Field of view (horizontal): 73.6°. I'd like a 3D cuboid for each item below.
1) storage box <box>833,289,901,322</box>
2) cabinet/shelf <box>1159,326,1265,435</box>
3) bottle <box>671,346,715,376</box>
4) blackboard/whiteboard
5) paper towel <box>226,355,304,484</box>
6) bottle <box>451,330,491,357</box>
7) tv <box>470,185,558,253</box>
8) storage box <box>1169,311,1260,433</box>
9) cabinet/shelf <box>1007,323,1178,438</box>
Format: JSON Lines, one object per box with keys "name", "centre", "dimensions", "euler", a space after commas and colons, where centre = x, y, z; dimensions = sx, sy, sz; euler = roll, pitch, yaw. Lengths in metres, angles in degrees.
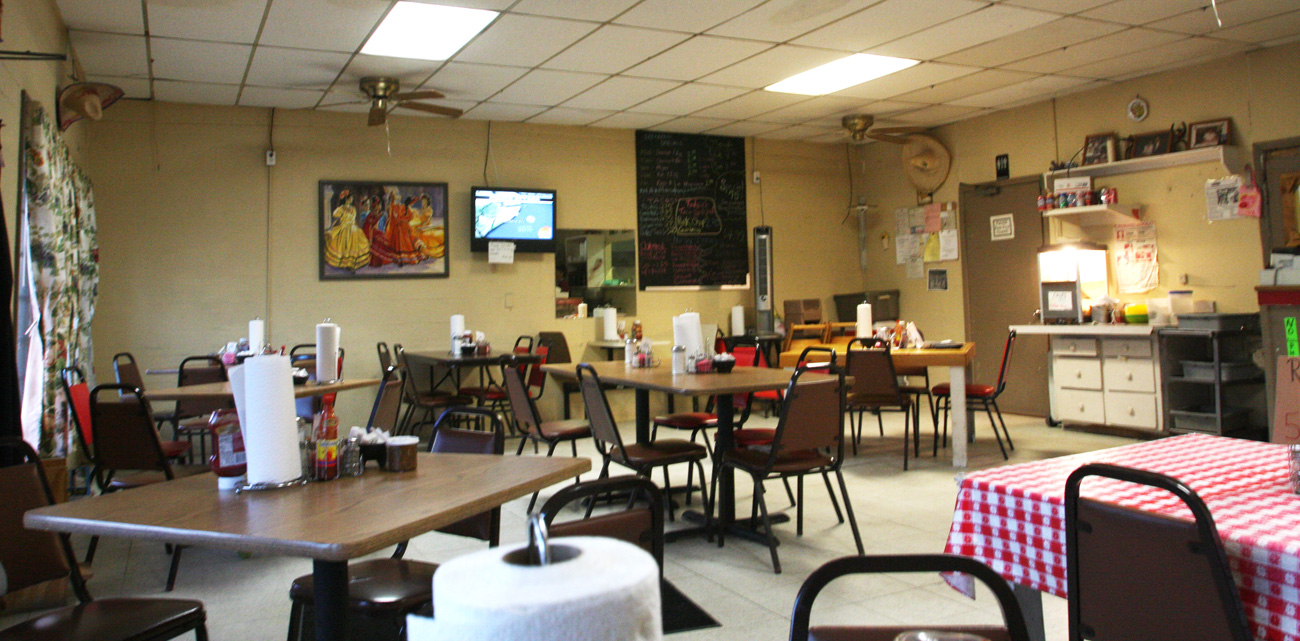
{"name": "storage box", "centre": [3.346, -0.239, 13.306], "dimensions": [0.723, 0.586, 0.631], "euler": [0, 3, 4]}
{"name": "cabinet/shelf", "centre": [6.708, 0.695, 10.512], "dimensions": [1.151, 1.564, 0.851], "euler": [2, 0, 4]}
{"name": "bottle", "centre": [0.420, 0.404, 8.675], "dimensions": [0.403, 0.229, 0.267], "euler": [1, -4, -11]}
{"name": "blackboard/whiteboard", "centre": [0.626, -1.631, 12.841], "dimensions": [1.745, 2.290, 0.140], "euler": [-3, 4, -21]}
{"name": "paper towel", "centre": [-2.747, 0.720, 6.440], "dimensions": [0.475, 0.943, 0.560], "euler": [-1, -1, -13]}
{"name": "bottle", "centre": [-2.228, 0.297, 11.015], "dimensions": [0.314, 0.280, 0.452], "euler": [0, -2, 21]}
{"name": "tv", "centre": [-1.877, -1.386, 11.966], "dimensions": [1.138, 0.869, 0.104], "euler": [-3, 3, -18]}
{"name": "storage box", "centre": [6.701, 0.644, 10.300], "dimensions": [0.983, 1.459, 0.816], "euler": [1, 4, 39]}
{"name": "cabinet/shelf", "centre": [5.798, 0.689, 11.232], "dimensions": [1.561, 1.401, 1.943], "euler": [4, -6, -35]}
